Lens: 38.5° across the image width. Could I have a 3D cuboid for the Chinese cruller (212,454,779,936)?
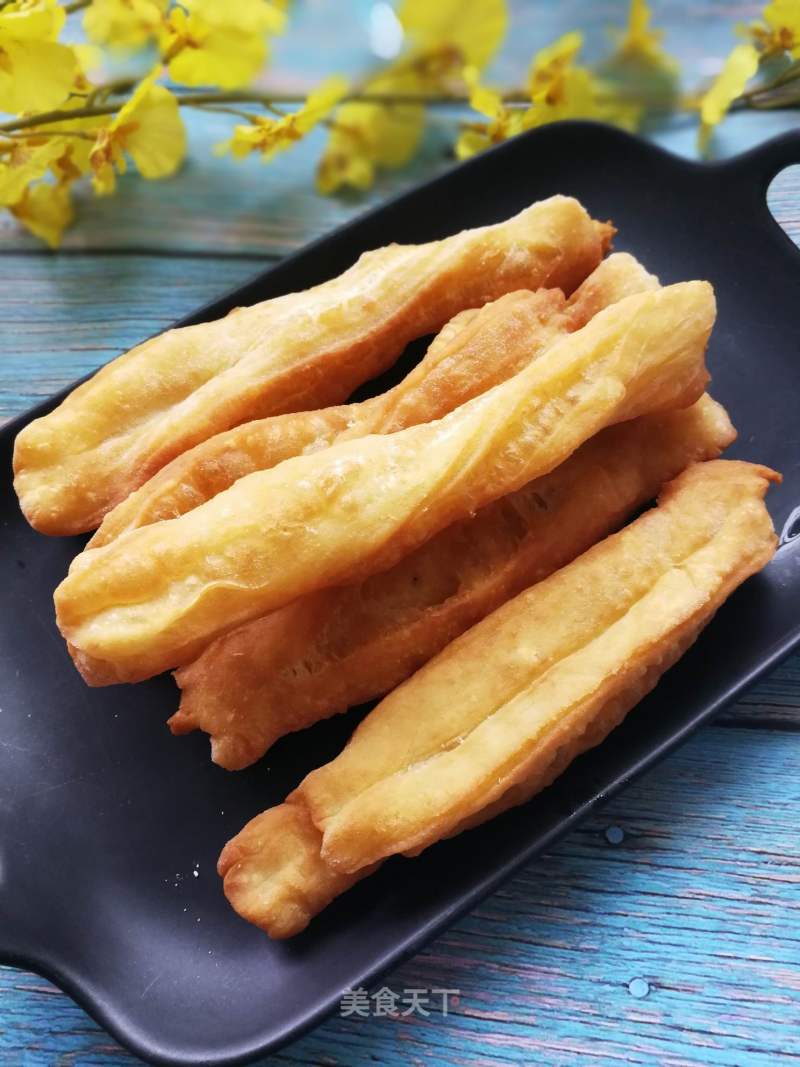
[{"bbox_3d":[0.062,0.128,0.960,0.577,0.130,0.145,-33,40,-6],"label":"Chinese cruller"}]
